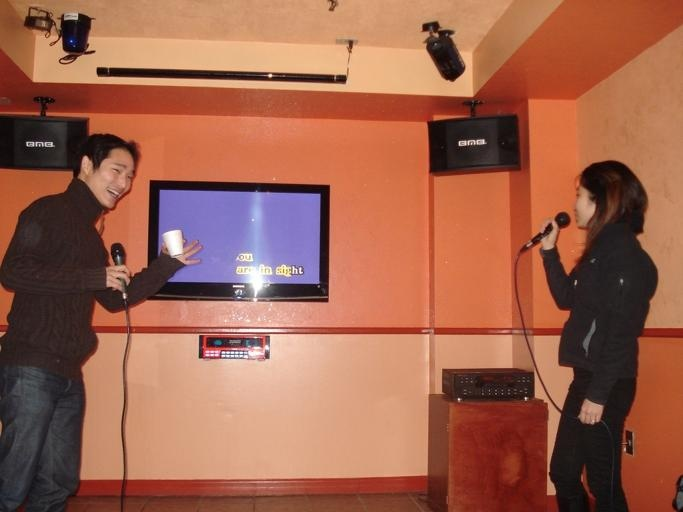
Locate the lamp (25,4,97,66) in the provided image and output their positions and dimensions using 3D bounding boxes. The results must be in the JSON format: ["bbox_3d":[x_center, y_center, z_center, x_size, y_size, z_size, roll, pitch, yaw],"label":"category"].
[{"bbox_3d":[-1.841,-1.479,4.025,0.400,0.317,0.197,4,19,44],"label":"lamp"}]

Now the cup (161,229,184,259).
[{"bbox_3d":[-0.968,-0.078,3.565,0.140,0.158,0.139,-11,-4,-1],"label":"cup"}]

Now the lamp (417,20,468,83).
[{"bbox_3d":[0.714,-1.394,4.173,0.203,0.207,0.418,-10,-46,33],"label":"lamp"}]

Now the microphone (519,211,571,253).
[{"bbox_3d":[1.394,-0.168,4.127,0.085,0.311,0.081,44,-2,29],"label":"microphone"}]
